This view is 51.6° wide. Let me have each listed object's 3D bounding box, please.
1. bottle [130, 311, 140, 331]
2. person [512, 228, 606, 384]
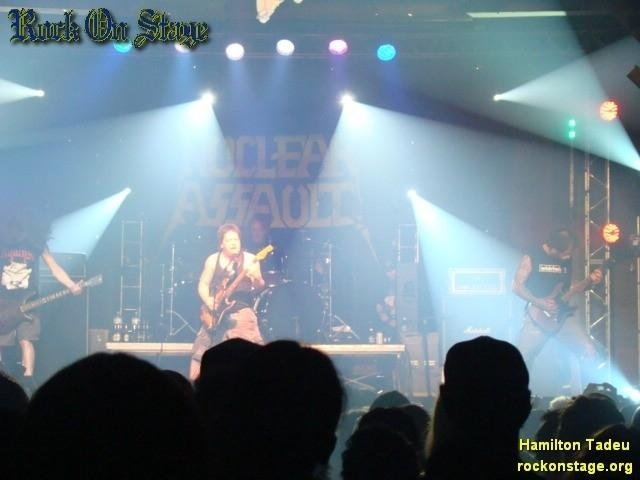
[{"bbox_3d":[-2.644,1.159,9.510,0.127,0.259,0.146,2,4,-21],"label":"bottle"},{"bbox_3d":[3.263,0.871,9.273,0.690,1.932,1.339,6,-1,44],"label":"person"}]
